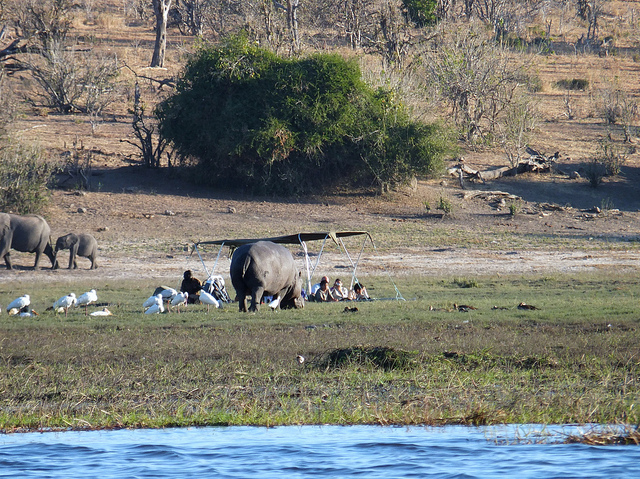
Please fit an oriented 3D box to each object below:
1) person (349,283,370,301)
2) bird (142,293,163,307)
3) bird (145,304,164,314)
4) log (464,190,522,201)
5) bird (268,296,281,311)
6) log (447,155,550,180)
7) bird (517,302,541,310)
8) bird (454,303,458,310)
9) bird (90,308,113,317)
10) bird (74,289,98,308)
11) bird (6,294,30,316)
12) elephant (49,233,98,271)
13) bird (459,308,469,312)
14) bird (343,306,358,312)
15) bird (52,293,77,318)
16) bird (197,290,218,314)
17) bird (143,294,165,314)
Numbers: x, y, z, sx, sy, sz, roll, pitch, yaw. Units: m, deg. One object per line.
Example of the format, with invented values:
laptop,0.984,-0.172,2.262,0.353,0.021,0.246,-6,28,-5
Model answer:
person,2.181,3.021,89.471,0.843,0.979,0.418,9,1,7
bird,-8.912,3.335,85.020,0.927,0.724,0.549,1,2,10
bird,-8.814,3.759,84.780,0.952,0.555,0.417,2,3,31
log,11.639,-2.970,108.967,3.376,0.705,1.407,5,13,-11
bird,-2.356,3.616,87.604,0.237,0.593,1.057,11,39,25
log,13.322,-5.063,113.869,7.995,1.651,1.952,-2,4,-35
bird,11.236,3.711,86.237,1.079,0.359,0.579,5,2,-33
bird,7.357,3.695,86.468,0.165,0.337,0.579,3,13,9
bird,-11.664,3.940,85.086,1.093,0.595,0.390,-1,5,-1
bird,-12.587,3.219,85.589,1.113,0.852,1.029,0,3,-14
bird,-16.040,3.447,84.858,1.137,1.456,0.676,16,20,-14
elephant,-14.556,0.763,94.137,3.679,2.271,1.340,0,6,-34
bird,7.772,3.871,86.055,0.569,0.339,0.160,2,18,-2
bird,1.651,3.838,86.561,0.782,0.202,0.571,1,3,3
bird,-13.950,3.444,85.226,0.797,1.594,1.417,9,6,44
bird,-6.111,3.388,86.590,0.912,1.156,1.999,0,3,-8
bird,-8.842,3.497,84.959,0.818,1.181,1.079,16,16,37
